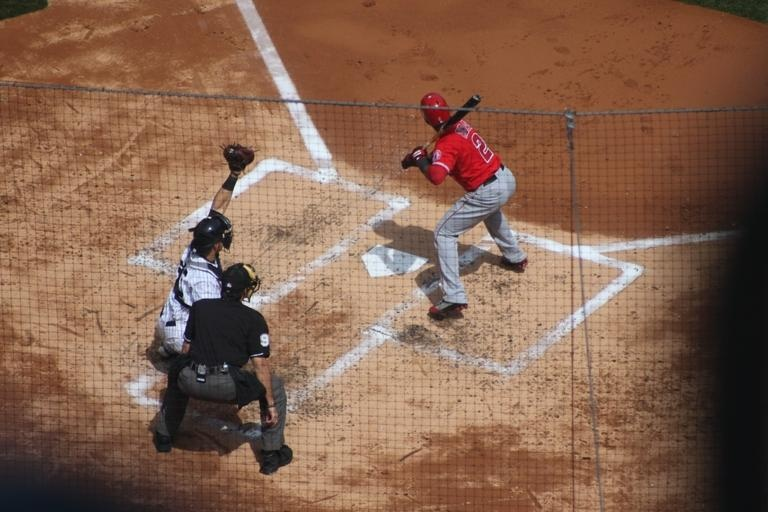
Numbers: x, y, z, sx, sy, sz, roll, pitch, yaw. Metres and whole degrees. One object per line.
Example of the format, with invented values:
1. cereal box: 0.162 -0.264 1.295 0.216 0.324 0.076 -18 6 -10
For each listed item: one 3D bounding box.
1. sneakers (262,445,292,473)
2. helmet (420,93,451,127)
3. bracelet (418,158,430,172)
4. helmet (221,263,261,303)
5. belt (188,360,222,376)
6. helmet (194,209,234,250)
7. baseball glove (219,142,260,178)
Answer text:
1. sneakers: -1.535 2.880 19.182 0.484 0.280 0.188 -30 4 -17
2. helmet: 0.702 -2.169 20.227 0.563 0.480 0.413 -4 -1 -41
3. bracelet: 0.592 -1.350 20.088 0.212 0.191 0.201 -6 7 -11
4. helmet: -2.034 0.351 19.049 0.452 0.514 0.619 13 28 22
5. belt: -2.498 1.582 18.790 0.420 0.130 0.117 12 40 1
6. helmet: -2.329 -0.319 19.661 0.674 0.546 0.484 -10 7 -1
7. baseball glove: -2.163 -1.437 20.043 0.514 0.538 0.241 -4 20 -5
